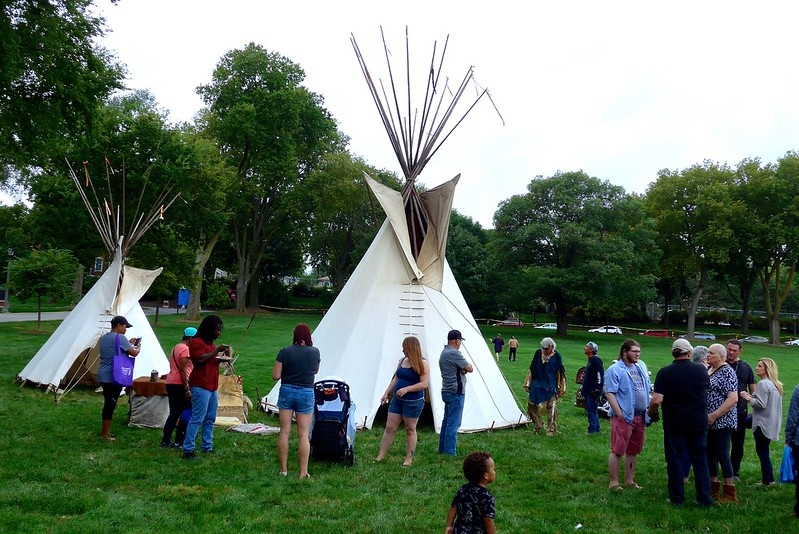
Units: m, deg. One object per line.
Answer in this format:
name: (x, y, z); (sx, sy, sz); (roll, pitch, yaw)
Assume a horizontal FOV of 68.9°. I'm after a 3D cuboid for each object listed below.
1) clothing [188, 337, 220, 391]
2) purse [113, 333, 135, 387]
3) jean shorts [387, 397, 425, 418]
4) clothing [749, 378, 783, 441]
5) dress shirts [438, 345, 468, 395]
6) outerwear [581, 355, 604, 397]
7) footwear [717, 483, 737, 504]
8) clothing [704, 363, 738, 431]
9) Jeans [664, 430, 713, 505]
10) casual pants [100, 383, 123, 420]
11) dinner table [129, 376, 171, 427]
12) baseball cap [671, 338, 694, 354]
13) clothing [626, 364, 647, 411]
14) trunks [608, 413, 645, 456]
clothing: (-3.551, 1.731, 10.565); (0.585, 0.978, 0.448); (9, -12, -18)
purse: (-5.519, 1.866, 11.634); (0.442, 1.015, 0.392); (12, -14, -30)
jean shorts: (0.116, 2.642, 10.935); (0.577, 0.423, 0.422); (3, -5, 21)
clothing: (6.397, 2.477, 10.171); (0.445, 1.007, 0.330); (-1, -13, 28)
dress shirts: (1.019, 1.970, 11.125); (0.516, 0.879, 0.314); (5, -12, 4)
outerwear: (4.446, 2.524, 13.405); (0.407, 0.986, 0.694); (2, -12, 14)
footwear: (5.483, 3.777, 9.728); (0.241, 0.316, 0.288); (-1, -14, 29)
clothing: (5.396, 2.229, 9.799); (0.571, 1.005, 0.956); (1, -14, 9)
Jeans: (4.712, 3.290, 9.505); (0.715, 1.212, 0.405); (1, -13, 19)
casual pants: (-5.723, 2.656, 11.444); (0.328, 0.736, 0.442); (10, -13, -23)
dinner table: (-5.513, 2.983, 12.648); (0.992, 0.983, 1.446); (2, -1, -12)
baseball cap: (4.699, 1.298, 9.683); (0.281, 0.197, 0.388); (6, 13, 41)
clothing: (4.157, 2.136, 10.120); (0.262, 0.648, 0.479); (-7, -3, 18)
trunks: (3.932, 2.945, 10.137); (0.610, 0.727, 0.511); (6, -12, -2)
